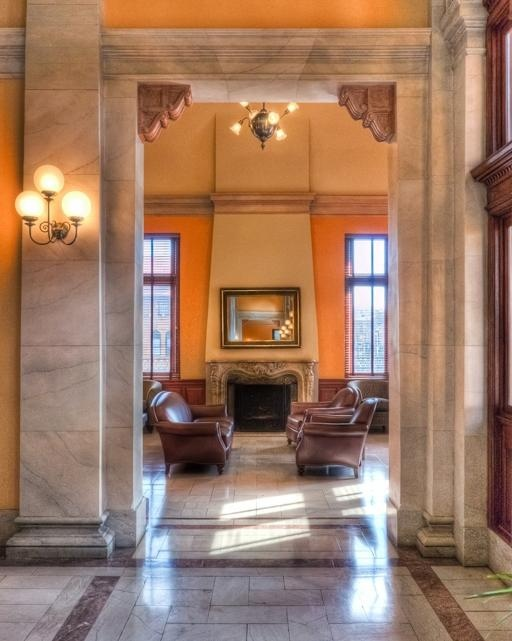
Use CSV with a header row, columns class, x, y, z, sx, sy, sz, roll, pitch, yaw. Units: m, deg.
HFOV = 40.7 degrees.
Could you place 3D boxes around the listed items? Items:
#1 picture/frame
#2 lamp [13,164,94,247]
class,x,y,z,sx,sy,sz,roll,pitch,yaw
picture/frame,0.104,-0.009,10.565,1.027,0.740,0.042,0,-2,-2
lamp,-1.397,-0.766,4.764,0.533,0.469,0.265,0,-15,-20
